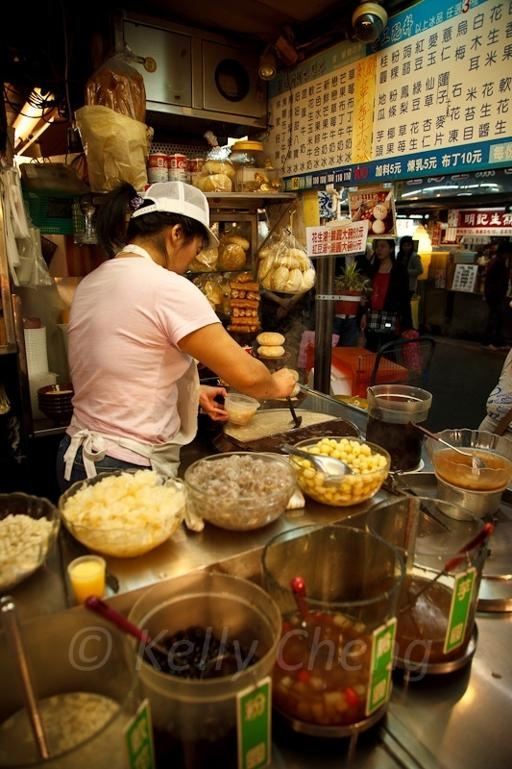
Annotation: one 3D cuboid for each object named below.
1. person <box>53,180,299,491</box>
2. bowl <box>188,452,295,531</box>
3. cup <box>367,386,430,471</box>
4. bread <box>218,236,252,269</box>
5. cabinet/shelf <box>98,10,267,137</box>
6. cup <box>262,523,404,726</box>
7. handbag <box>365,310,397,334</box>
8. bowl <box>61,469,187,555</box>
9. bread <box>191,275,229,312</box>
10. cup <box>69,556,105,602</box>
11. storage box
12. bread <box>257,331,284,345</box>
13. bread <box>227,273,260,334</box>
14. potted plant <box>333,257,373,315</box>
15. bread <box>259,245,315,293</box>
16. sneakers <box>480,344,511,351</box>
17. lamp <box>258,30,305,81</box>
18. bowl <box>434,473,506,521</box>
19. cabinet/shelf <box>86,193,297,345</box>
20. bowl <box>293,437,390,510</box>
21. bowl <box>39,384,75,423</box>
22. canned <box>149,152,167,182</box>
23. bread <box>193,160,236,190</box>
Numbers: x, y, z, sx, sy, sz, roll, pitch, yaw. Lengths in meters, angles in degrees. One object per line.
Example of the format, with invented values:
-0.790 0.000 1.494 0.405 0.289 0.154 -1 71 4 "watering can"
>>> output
-0.308 -0.127 1.701 0.731 1.010 0.407 2 17 2 "person"
-0.031 0.248 1.256 0.191 0.090 0.189 1 12 0 "bowl"
0.430 0.119 1.868 0.280 0.295 0.270 0 16 0 "cup"
-0.144 -0.825 3.381 0.182 0.214 0.073 21 4 16 "bread"
-0.339 -1.736 2.929 0.968 0.442 0.135 -12 22 -38 "cabinet/shelf"
0.084 0.437 1.017 0.296 0.314 0.279 1 19 0 "cup"
0.818 -0.407 3.421 0.147 0.143 0.053 8 6 40 "handbag"
-0.274 0.232 1.118 0.193 0.099 0.190 3 12 -1 "bowl"
-0.314 -0.625 3.479 0.192 0.244 0.095 -14 -9 -42 "bread"
-0.327 0.382 1.018 0.069 0.070 0.093 -5 18 -20 "cup"
0.590 -0.051 3.195 0.350 0.312 0.744 -6 19 -25 "storage box"
0.080 -0.271 3.107 0.136 0.066 0.133 0 3 4 "bread"
-0.078 -0.505 3.315 0.255 0.341 0.111 0 1 11 "bread"
0.568 -0.562 3.088 0.203 0.297 0.190 5 10 6 "potted plant"
0.200 -0.604 2.935 0.281 0.267 0.282 5 7 39 "bread"
1.457 -0.235 3.192 0.050 0.058 0.147 -14 12 -26 "sneakers"
0.133 -1.821 2.921 0.166 0.113 0.256 32 -17 -8 "lamp"
0.567 0.297 1.390 0.149 0.110 0.151 1 11 0 "bowl"
-0.268 -0.736 3.576 0.504 0.794 0.715 -11 5 -36 "cabinet/shelf"
0.260 0.228 1.455 0.211 0.094 0.210 10 22 -4 "bowl"
-1.179 0.118 3.089 0.238 0.180 0.217 2 6 0 "bowl"
-0.565 -1.238 2.999 0.095 0.167 0.133 5 18 12 "canned"
-0.243 -1.185 2.994 0.210 0.186 0.208 1 3 4 "bread"
